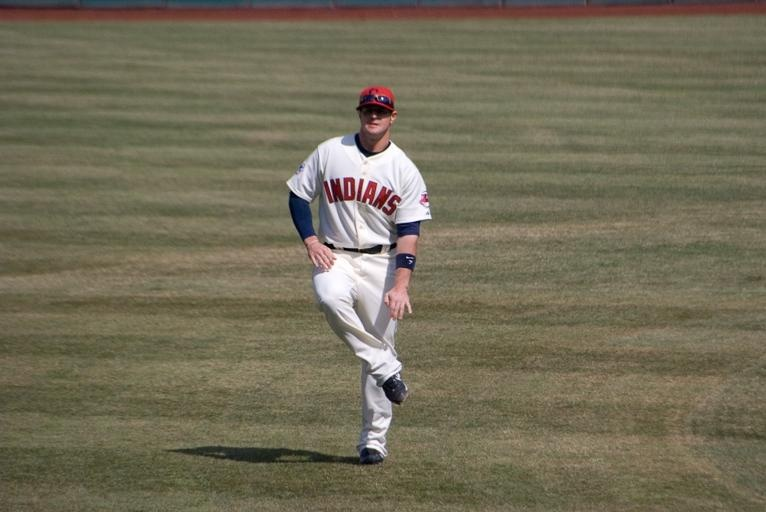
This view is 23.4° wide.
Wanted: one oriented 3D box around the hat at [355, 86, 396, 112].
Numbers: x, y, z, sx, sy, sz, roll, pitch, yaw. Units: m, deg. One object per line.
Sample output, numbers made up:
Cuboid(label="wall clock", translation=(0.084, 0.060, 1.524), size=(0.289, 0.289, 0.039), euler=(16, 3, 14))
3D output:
Cuboid(label="hat", translation=(-0.059, -1.927, 22.363), size=(0.362, 0.209, 0.436), euler=(2, 1, 3))

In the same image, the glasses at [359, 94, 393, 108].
Cuboid(label="glasses", translation=(-0.069, -1.883, 22.188), size=(0.399, 0.176, 0.130), euler=(-2, 22, -3))

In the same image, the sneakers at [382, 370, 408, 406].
Cuboid(label="sneakers", translation=(0.148, 1.562, 22.159), size=(0.197, 0.212, 0.490), euler=(-10, -29, 8))

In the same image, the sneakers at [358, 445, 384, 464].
Cuboid(label="sneakers", translation=(-0.156, 2.367, 22.283), size=(0.204, 0.107, 0.256), euler=(-5, -22, 31))
